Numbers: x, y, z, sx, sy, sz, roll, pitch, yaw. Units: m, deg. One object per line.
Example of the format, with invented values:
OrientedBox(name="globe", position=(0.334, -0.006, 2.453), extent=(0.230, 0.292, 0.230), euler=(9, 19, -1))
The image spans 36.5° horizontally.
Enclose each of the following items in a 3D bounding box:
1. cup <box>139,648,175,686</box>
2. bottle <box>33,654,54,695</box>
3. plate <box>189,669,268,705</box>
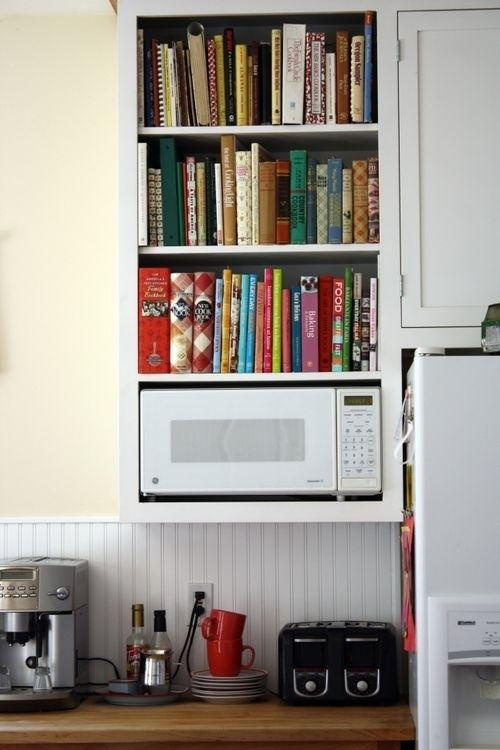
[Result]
OrientedBox(name="cup", position=(-0.230, 0.706, 1.840), extent=(0.066, 0.076, 0.082), euler=(-1, -12, 0))
OrientedBox(name="bottle", position=(-0.490, 0.710, 1.770), extent=(0.042, 0.078, 0.072), euler=(0, -16, -7))
OrientedBox(name="plate", position=(-0.052, 0.745, 1.825), extent=(0.107, 0.045, 0.116), euler=(0, -7, 4))
